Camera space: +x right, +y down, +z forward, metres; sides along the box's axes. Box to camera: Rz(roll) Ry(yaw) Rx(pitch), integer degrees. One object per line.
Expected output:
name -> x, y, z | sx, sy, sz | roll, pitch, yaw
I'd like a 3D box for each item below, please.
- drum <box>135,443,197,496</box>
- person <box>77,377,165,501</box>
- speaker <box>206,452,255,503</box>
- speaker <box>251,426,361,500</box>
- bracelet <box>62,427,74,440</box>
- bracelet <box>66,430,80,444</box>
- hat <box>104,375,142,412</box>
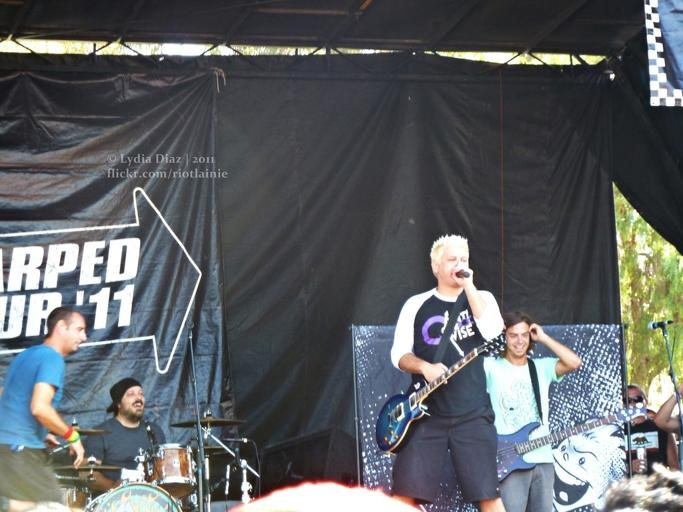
drum -> -1.436, 1.759, 7.711 | 0.396, 0.341, 0.430 | -5, -17, -2
person -> -1.951, 1.771, 8.543 | 0.608, 1.215, 0.758 | -12, -15, 41
speaker -> -1.006, 2.072, 8.607 | 0.357, 0.529, 0.152 | 18, -14, -36
speaker -> -0.303, 1.923, 8.909 | 0.979, 0.799, 0.595 | -4, 11, 13
bracelet -> -2.028, 1.340, 6.980 | 0.086, 0.070, 0.091 | -10, -23, 28
bracelet -> -2.021, 1.354, 7.018 | 0.112, 0.093, 0.120 | -7, -15, 26
hat -> -2.037, 1.269, 8.637 | 0.320, 0.256, 0.236 | -34, -20, 16
